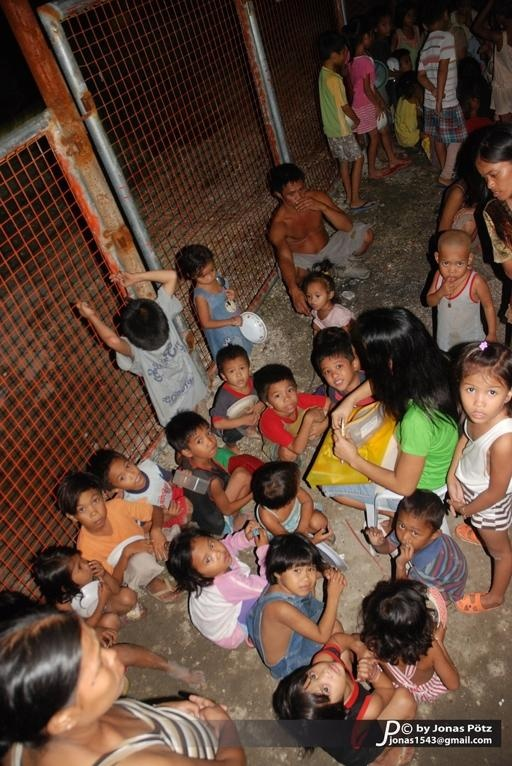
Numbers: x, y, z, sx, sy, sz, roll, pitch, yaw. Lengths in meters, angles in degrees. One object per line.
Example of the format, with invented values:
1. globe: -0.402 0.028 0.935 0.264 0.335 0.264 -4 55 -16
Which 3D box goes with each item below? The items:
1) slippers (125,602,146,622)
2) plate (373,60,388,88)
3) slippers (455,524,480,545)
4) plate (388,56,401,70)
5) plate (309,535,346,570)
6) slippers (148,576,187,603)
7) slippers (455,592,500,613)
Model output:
1. slippers: -0.770 1.453 3.411 0.071 0.102 0.113 12 50 45
2. plate: 1.519 -3.732 6.505 0.331 0.327 0.075 -23 26 -33
3. slippers: 1.266 0.899 3.200 0.144 0.077 0.091 16 53 47
4. plate: 1.736 -4.013 6.781 0.124 0.161 0.056 0 8 27
5. plate: 0.434 1.021 3.190 0.064 0.223 0.154 -41 33 -18
6. slippers: -0.578 1.334 3.473 0.216 0.065 0.134 23 56 11
7. slippers: 1.173 1.178 2.867 0.190 0.065 0.089 -2 59 14
